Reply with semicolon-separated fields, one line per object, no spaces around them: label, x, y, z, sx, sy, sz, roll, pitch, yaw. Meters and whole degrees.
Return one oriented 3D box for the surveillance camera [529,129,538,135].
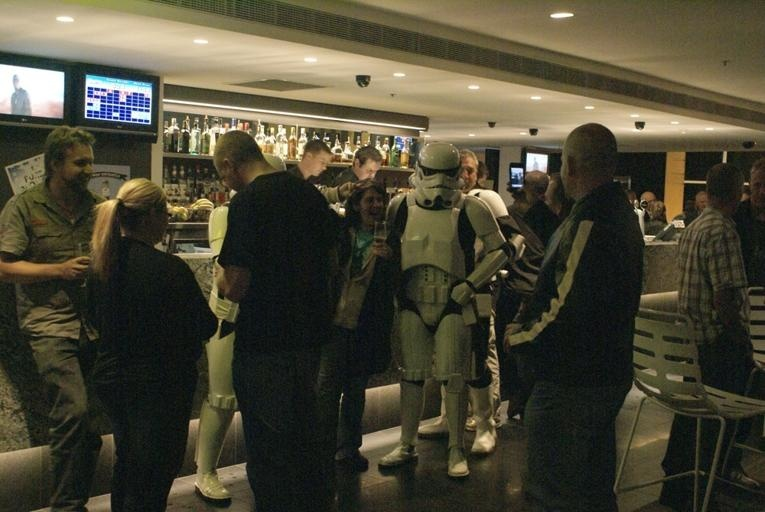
surveillance camera;2.349;-1.928;9.903;0.085;0.061;0.085;-2;3;-29

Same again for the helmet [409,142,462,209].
helmet;0.284;-0.506;4.022;0.326;0.372;0.398;0;5;1

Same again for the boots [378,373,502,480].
boots;0.446;1.077;4.401;0.711;0.677;0.690;-3;-8;34

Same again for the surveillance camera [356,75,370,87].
surveillance camera;-0.195;-1.670;6.072;0.093;0.069;0.093;2;6;22

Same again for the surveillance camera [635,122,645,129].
surveillance camera;3.471;-1.763;8.573;0.118;0.082;0.120;-1;0;-6

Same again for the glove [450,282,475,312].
glove;0.502;0.243;4.046;0.131;0.155;0.137;34;58;25
